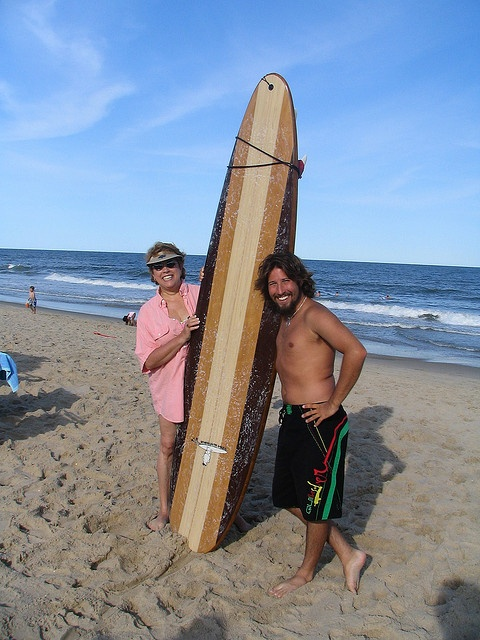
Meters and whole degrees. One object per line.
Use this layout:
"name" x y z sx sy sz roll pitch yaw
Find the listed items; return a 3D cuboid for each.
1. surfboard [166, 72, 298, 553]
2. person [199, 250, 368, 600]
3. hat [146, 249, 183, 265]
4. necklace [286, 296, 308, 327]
"surfboard" 0.023 -0.031 3.317 0.632 3.072 0.307 8 -4 13
"person" 0.343 0.552 2.673 0.268 1.776 0.640 0 9 -38
"hat" -0.413 -0.356 3.013 0.125 0.087 0.261 10 8 37
"necklace" 0.291 -0.038 2.723 0.052 0.217 0.028 32 21 28
